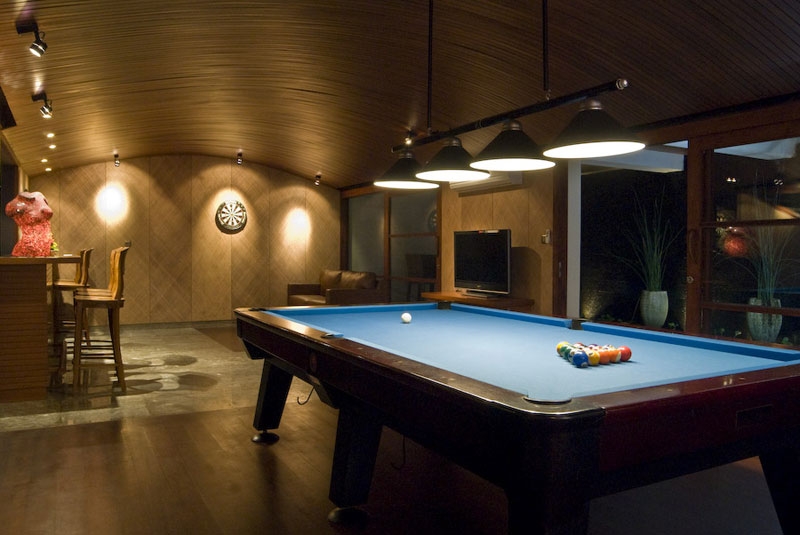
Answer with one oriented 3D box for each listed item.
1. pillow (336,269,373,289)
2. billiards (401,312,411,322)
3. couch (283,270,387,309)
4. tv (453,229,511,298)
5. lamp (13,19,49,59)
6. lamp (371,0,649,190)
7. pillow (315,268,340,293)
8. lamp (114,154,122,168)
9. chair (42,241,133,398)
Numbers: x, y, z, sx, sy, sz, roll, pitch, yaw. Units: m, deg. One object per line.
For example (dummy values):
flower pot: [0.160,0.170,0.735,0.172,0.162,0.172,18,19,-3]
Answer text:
pillow: [-0.700,0.214,9.269,0.465,0.293,0.877,-2,7,-16]
billiards: [0.041,0.380,4.262,0.055,0.050,0.069,-2,-10,7]
couch: [-1.191,0.536,9.606,0.967,0.961,1.944,1,1,-30]
tv: [1.078,-0.073,7.391,0.218,0.870,1.243,-2,3,-28]
lamp: [-3.265,-2.057,4.992,0.240,0.383,0.207,-5,11,-16]
lamp: [0.973,-1.596,4.923,0.392,1.312,1.633,6,-9,-38]
pillow: [-1.298,0.228,9.917,0.177,0.319,0.490,-1,0,-33]
lamp: [-4.913,-1.868,9.624,0.132,0.295,0.125,-1,9,-13]
chair: [-3.838,0.636,6.749,0.713,1.193,1.861,3,0,-24]
